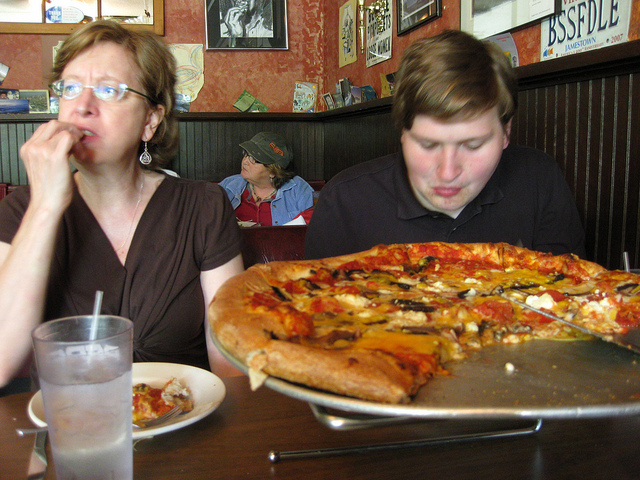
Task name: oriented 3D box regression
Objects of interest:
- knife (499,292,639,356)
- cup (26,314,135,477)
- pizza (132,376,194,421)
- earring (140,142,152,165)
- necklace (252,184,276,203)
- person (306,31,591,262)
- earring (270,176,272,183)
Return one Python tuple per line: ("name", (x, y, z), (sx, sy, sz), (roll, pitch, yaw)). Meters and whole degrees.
("knife", (0.499, 0.155, 1.163), (0.020, 0.055, 0.467), (-29, 22, -9))
("cup", (-0.378, 0.250, 0.858), (0.151, 0.237, 0.140), (1, 13, 0))
("pizza", (-0.346, 0.342, 1.153), (0.103, 0.020, 0.081), (-7, 22, -28))
("earring", (-0.638, -0.313, 1.933), (0.036, 0.080, 0.065), (-4, 14, -17))
("necklace", (-0.474, -0.405, 4.589), (0.131, 0.034, 0.132), (-33, 60, -21))
("person", (0.473, -0.280, 1.825), (1.018, 0.783, 0.645), (-1, 13, -6))
("earring", (-0.415, -0.510, 4.510), (0.020, 0.049, 0.015), (2, 13, 5))
